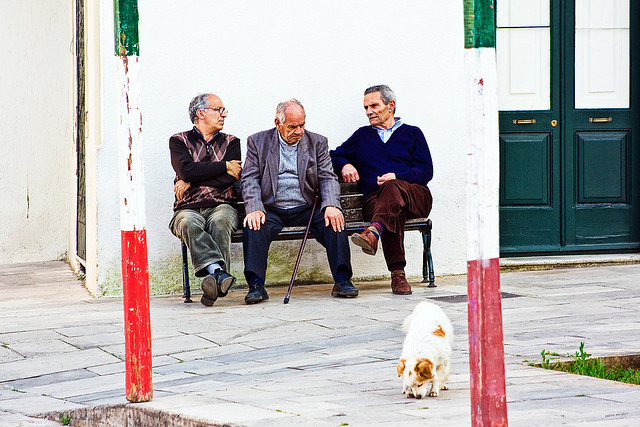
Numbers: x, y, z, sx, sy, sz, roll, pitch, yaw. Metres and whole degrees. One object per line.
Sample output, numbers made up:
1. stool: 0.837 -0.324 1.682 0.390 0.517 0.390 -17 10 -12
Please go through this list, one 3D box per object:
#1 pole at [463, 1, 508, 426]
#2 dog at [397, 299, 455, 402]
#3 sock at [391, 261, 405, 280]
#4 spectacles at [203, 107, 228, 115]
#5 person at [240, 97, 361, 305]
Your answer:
1. pole: 0.963 -0.001 5.261 0.316 2.345 0.333 1 -9 2
2. dog: 0.722 0.944 5.968 0.291 0.360 0.737 -4 17 11
3. sock: 0.788 0.540 8.935 0.129 0.168 0.175 0 -8 -6
4. spectacles: -1.041 -1.027 8.874 0.077 0.060 0.240 7 13 44
5. person: -0.262 -0.152 8.774 1.049 1.894 0.771 -3 10 -5
